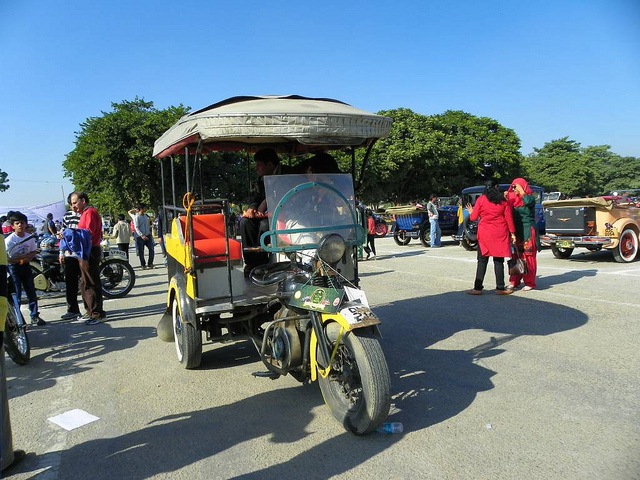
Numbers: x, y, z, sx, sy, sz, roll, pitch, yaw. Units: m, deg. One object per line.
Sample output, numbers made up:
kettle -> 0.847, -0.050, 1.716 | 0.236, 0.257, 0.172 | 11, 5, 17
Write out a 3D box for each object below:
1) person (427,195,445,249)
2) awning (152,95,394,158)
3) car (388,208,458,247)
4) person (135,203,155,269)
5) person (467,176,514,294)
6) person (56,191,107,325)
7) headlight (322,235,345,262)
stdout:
person -> 4.514, -0.715, 17.116 | 0.544, 2.086, 0.940 | 0, 9, 16
awning -> -0.588, -1.381, 5.626 | 2.256, 0.616, 2.788 | -5, 7, -17
car -> 4.432, -0.672, 18.462 | 2.340, 1.136, 1.531 | -8, 8, -27
person -> -5.998, -0.075, 14.941 | 0.549, 2.204, 0.785 | -7, 10, -23
person -> 3.454, -0.075, 8.825 | 0.804, 2.276, 1.559 | 1, 9, 23
person -> -3.966, 0.338, 7.614 | 0.450, 2.318, 0.700 | -8, 10, -28
headlight -> 0.127, 0.087, 4.269 | 0.235, 0.263, 0.093 | 8, -4, -31
